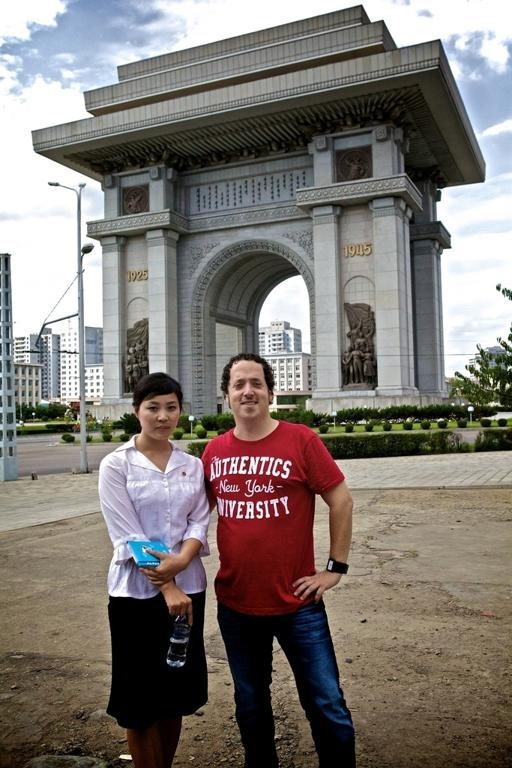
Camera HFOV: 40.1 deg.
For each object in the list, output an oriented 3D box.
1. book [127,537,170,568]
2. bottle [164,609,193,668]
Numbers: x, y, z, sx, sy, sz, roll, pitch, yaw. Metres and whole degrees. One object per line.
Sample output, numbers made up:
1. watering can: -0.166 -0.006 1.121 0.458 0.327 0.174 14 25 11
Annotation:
1. book: -0.375 0.608 2.550 0.163 0.067 0.170 -2 -1 -21
2. bottle: -0.283 0.950 2.585 0.093 0.139 0.065 -3 -1 -8
